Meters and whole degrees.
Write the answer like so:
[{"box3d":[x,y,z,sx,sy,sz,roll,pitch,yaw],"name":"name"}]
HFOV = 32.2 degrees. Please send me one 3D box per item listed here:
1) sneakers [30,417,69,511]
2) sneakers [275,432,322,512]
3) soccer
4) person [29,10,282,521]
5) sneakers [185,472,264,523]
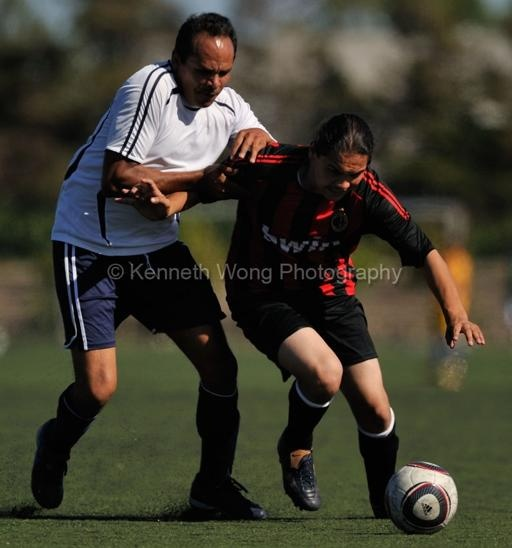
[{"box3d":[-0.890,0.806,3.839,0.165,0.366,0.175,-3,0,-28],"name":"sneakers"},{"box3d":[0.168,0.852,3.919,0.152,0.344,0.190,-10,-18,-29],"name":"sneakers"},{"box3d":[0.663,0.909,3.606,0.246,0.250,0.203,1,-1,-32],"name":"soccer"},{"box3d":[-0.415,0.000,3.728,1.003,2.077,0.621,1,-1,-12],"name":"person"},{"box3d":[-0.132,0.971,3.885,0.439,0.150,0.134,9,-7,7],"name":"sneakers"}]
